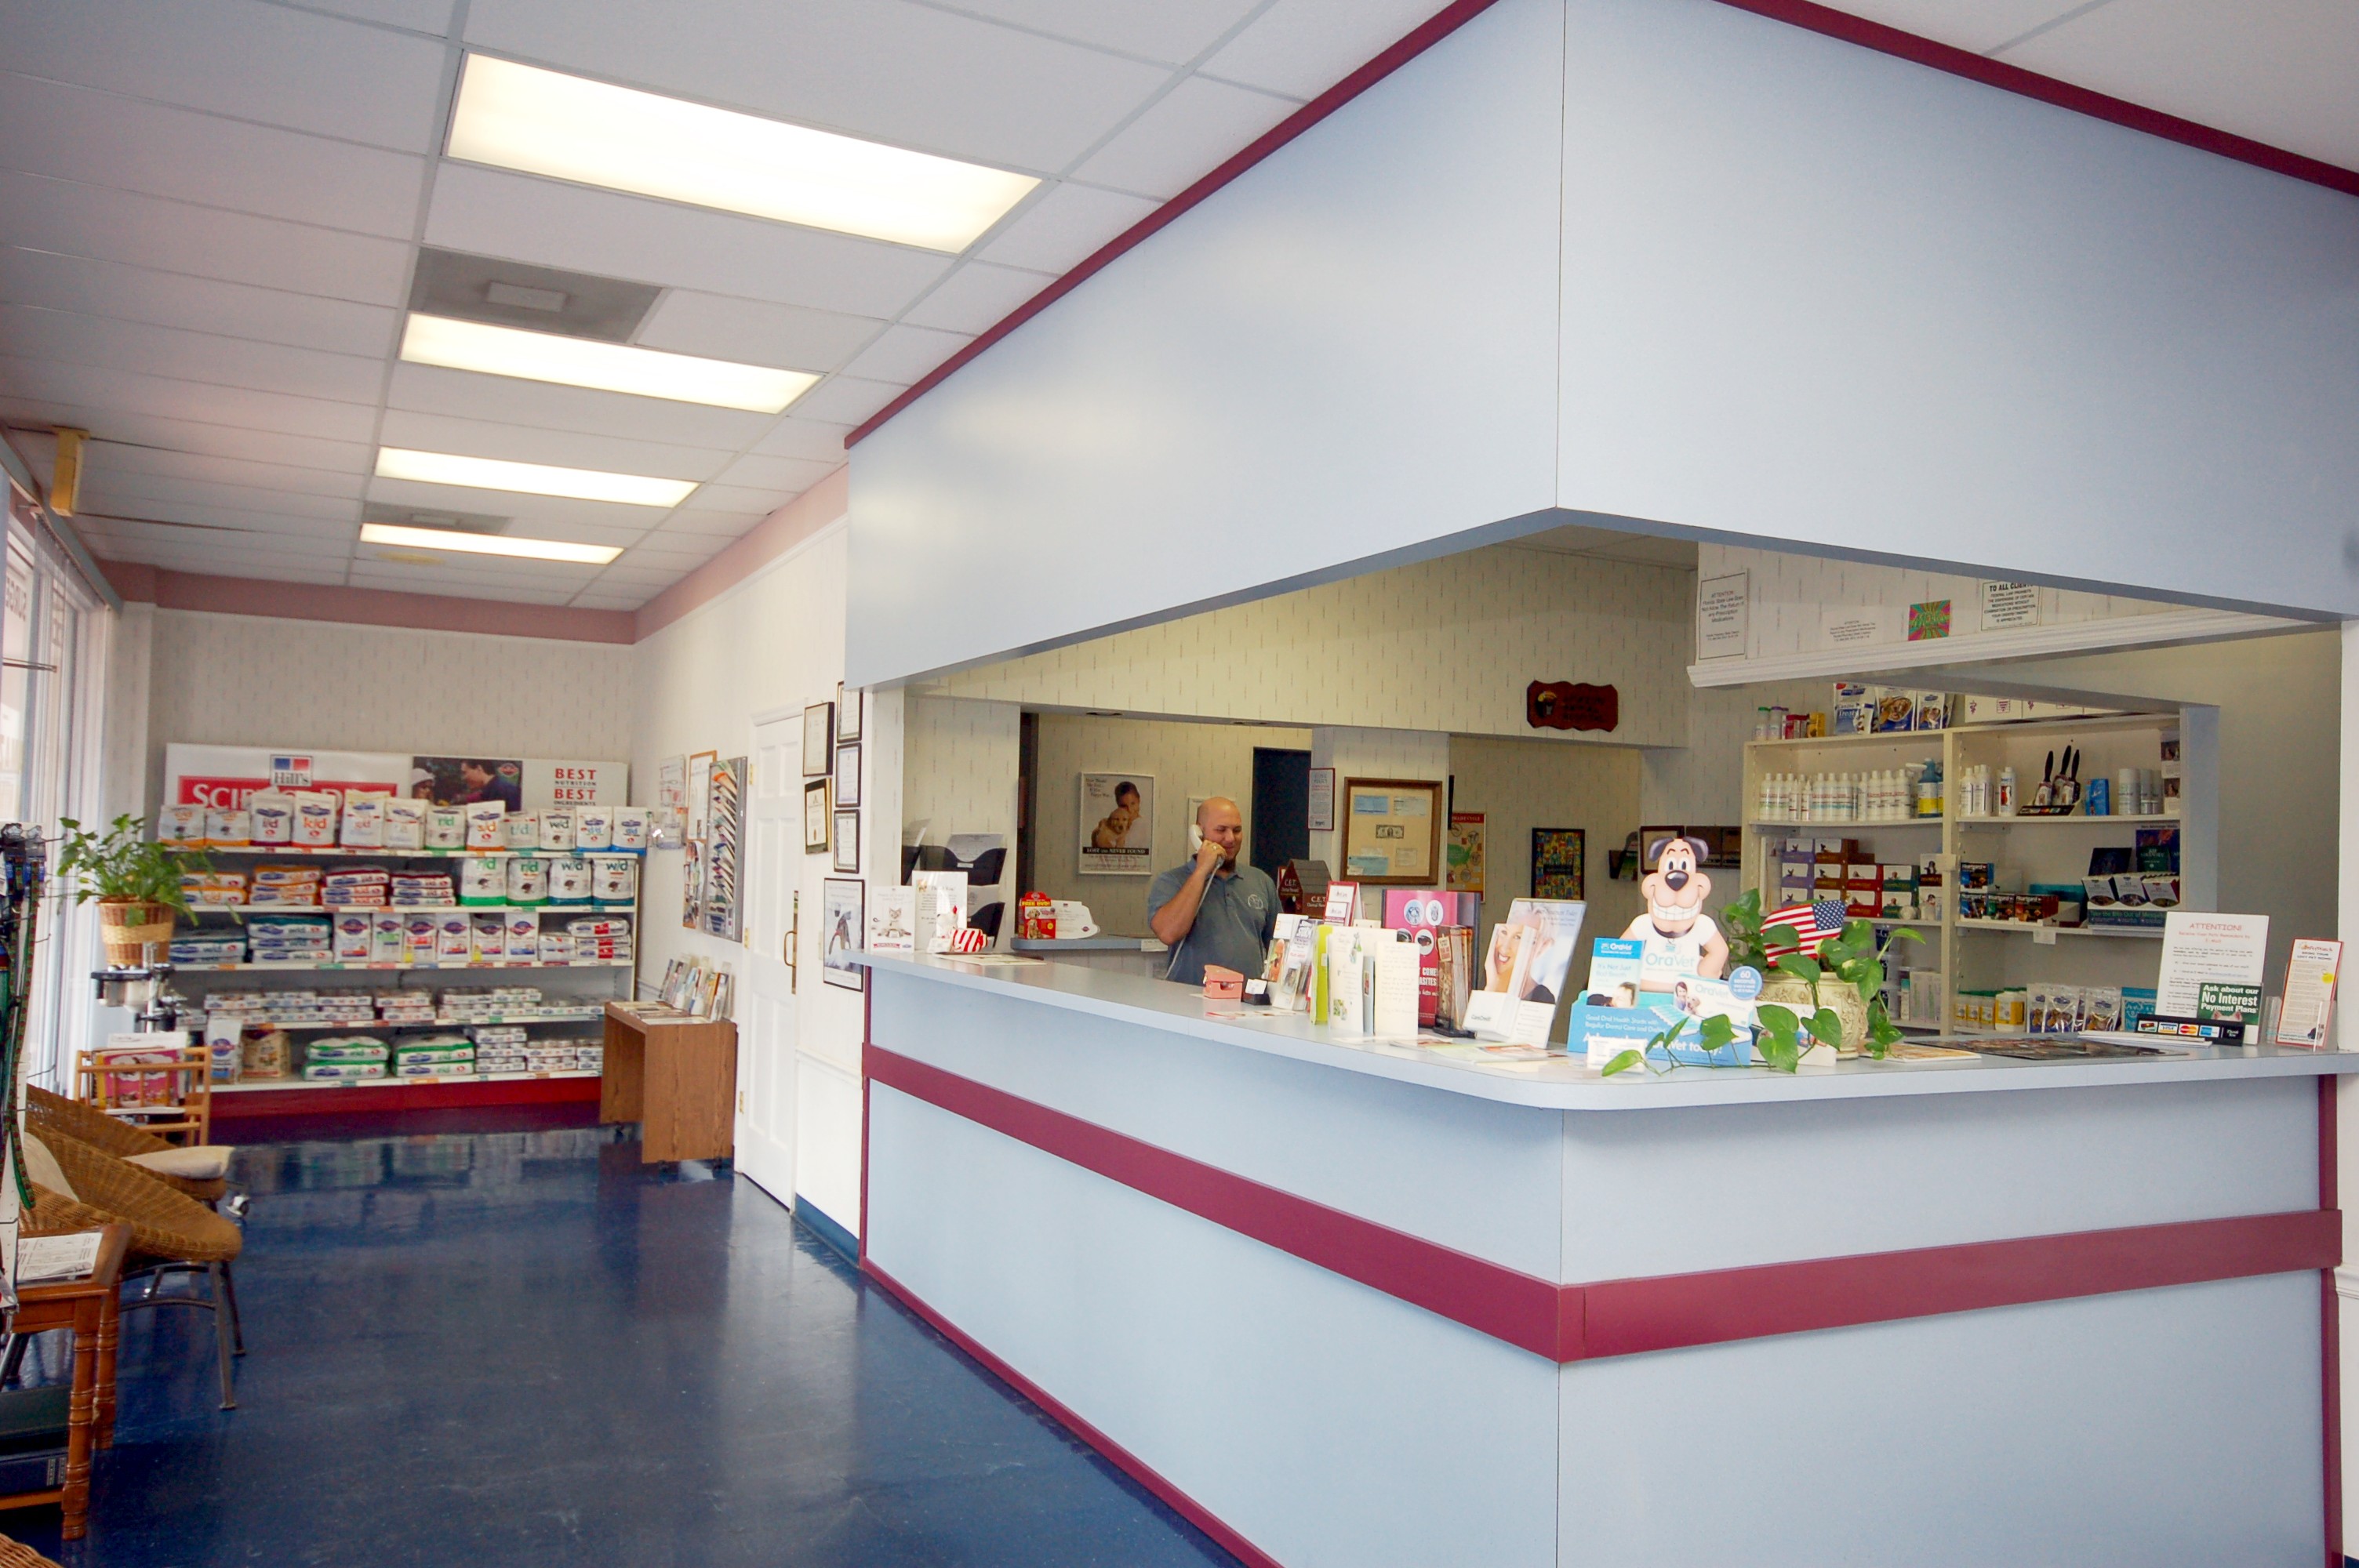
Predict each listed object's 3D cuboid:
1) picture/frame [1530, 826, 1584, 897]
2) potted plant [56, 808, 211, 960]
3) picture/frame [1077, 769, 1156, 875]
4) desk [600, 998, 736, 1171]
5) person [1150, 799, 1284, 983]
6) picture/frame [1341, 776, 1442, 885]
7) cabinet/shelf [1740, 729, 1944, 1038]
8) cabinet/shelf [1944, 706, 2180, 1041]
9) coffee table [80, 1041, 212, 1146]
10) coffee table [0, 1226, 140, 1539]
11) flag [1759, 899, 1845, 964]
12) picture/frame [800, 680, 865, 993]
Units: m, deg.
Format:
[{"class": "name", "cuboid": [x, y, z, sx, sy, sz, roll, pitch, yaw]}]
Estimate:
[{"class": "picture/frame", "cuboid": [2.908, 0.616, 12.318, 0.519, 0.634, 0.064, 3, -2, -25]}, {"class": "potted plant", "cuboid": [-6.521, 0.656, 9.696, 0.548, 0.778, 0.616, 3, -6, -9]}, {"class": "picture/frame", "cuboid": [-0.568, 0.321, 13.344, 0.853, 1.155, 0.048, 2, 1, -22]}, {"class": "desk", "cuboid": [-3.210, 1.844, 10.520, 0.564, 0.867, 1.501, 1, 7, -15]}, {"class": "person", "cuboid": [0.152, 0.489, 7.176, 0.496, 0.849, 0.520, 1, 1, 13]}, {"class": "picture/frame", "cuboid": [1.323, 0.301, 10.019, 0.797, 0.688, 0.070, 3, -3, -31]}, {"class": "cabinet/shelf", "cuboid": [3.815, 0.481, 8.953, 0.612, 1.559, 1.415, 0, 1, -20]}, {"class": "cabinet/shelf", "cuboid": [4.436, 0.455, 8.035, 1.111, 1.655, 0.549, 1, 1, 40]}, {"class": "coffee table", "cuboid": [-5.752, 1.822, 8.861, 0.514, 0.689, 0.653, -3, 3, -37]}, {"class": "coffee table", "cuboid": [-3.792, 2.029, 5.390, 0.352, 0.916, 0.667, 0, 1, -34]}, {"class": "flag", "cuboid": [1.894, 0.461, 4.819, 0.192, 0.197, 0.059, 4, -9, 21]}, {"class": "picture/frame", "cuboid": [-1.800, 0.273, 8.285, 0.265, 1.586, 1.254, 0, 1, -15]}]
